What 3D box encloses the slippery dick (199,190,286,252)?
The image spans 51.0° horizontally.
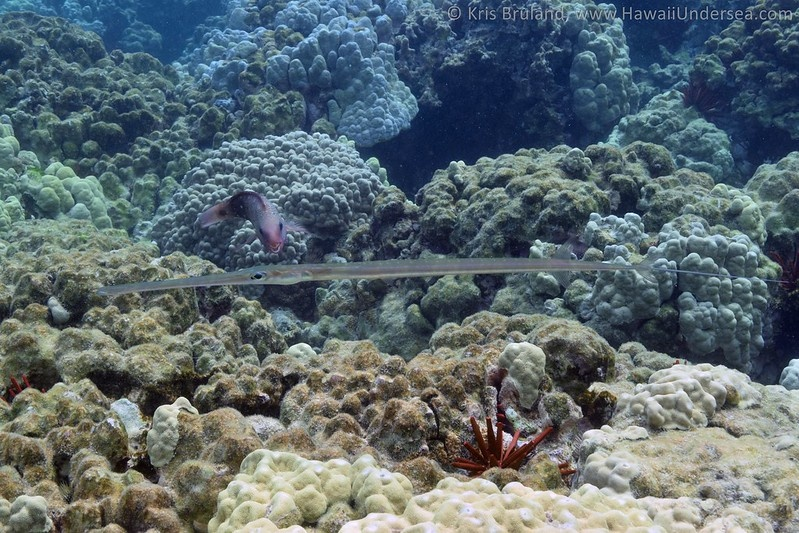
[{"bbox_3d":[-3.254,-1.109,18.028,1.992,1.111,0.495,17,22,33],"label":"slippery dick"}]
